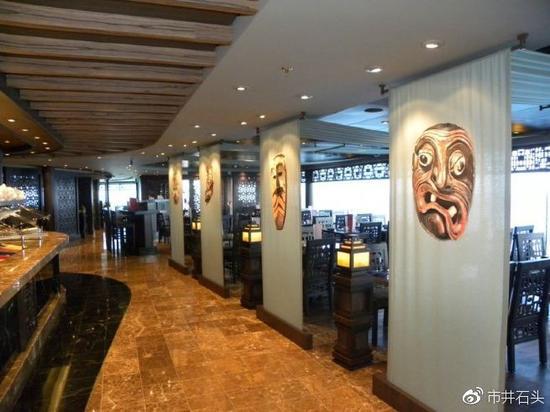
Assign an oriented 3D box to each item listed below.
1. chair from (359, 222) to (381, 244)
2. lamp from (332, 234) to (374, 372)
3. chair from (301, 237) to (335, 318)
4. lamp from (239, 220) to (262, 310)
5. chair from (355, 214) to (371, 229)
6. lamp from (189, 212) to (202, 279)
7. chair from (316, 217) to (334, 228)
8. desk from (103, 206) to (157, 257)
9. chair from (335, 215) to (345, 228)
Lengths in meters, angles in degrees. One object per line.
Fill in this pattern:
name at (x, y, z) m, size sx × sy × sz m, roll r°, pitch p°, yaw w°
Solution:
chair at (1.894, 0.541, 7.953) m, size 0.379 × 0.628 × 0.372 m, roll 0°, pitch 8°, yaw 0°
lamp at (0.913, 1.110, 4.733) m, size 0.469 × 1.495 × 0.428 m, roll 0°, pitch 6°, yaw 14°
chair at (0.591, 1.046, 6.374) m, size 0.776 × 0.961 × 0.752 m, roll -1°, pitch -8°, yaw 17°
lamp at (-0.428, 1.020, 6.891) m, size 0.388 × 1.360 × 0.554 m, roll -2°, pitch 6°, yaw -5°
chair at (2.377, 0.362, 10.658) m, size 0.472 × 0.278 × 0.464 m, roll 0°, pitch 2°, yaw -19°
lamp at (-1.793, 0.937, 9.040) m, size 0.211 × 1.275 × 0.727 m, roll -3°, pitch 6°, yaw -12°
chair at (1.367, 0.447, 11.022) m, size 0.479 × 0.320 × 0.600 m, roll 0°, pitch 6°, yaw 10°
desk at (-5.295, 0.796, 14.109) m, size 1.372 × 1.427 × 4.100 m, roll -2°, pitch -1°, yaw -31°
chair at (1.774, 0.428, 10.893) m, size 0.313 × 0.424 × 0.306 m, roll 0°, pitch 3°, yaw -9°
